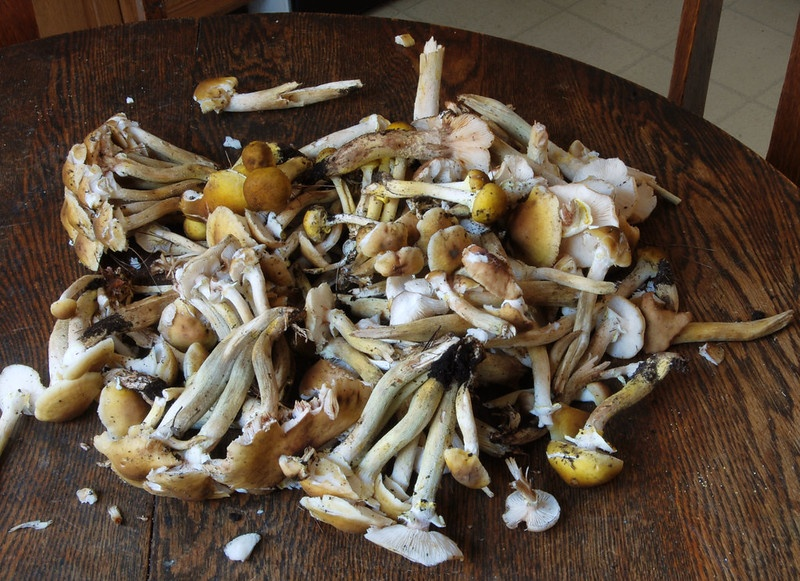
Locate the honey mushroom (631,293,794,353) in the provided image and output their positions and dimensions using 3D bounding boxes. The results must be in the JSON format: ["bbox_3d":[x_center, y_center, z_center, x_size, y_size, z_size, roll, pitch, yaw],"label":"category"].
[{"bbox_3d":[0.756,0.088,2.013,0.439,0.128,0.157,1,21,5],"label":"honey mushroom"}]

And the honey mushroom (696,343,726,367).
[{"bbox_3d":[0.789,0.156,1.964,0.062,0.013,0.060,28,56,25],"label":"honey mushroom"}]
